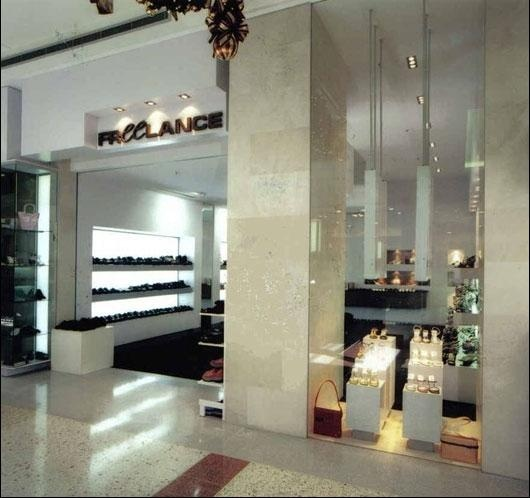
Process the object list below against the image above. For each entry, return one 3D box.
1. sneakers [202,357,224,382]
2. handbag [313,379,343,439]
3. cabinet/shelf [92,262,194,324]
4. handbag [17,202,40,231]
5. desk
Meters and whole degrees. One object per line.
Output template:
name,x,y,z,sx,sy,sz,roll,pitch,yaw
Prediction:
sneakers,-0.634,1.395,5.960,0.241,0.281,0.648,0,4,-8
handbag,0.651,1.646,5.156,0.300,0.539,0.195,1,3,12
cabinet/shelf,-1.870,0.659,7.302,0.489,0.968,2.212,-3,5,-45
handbag,-3.516,-0.478,7.342,0.176,0.508,0.379,4,3,36
desk,-2.756,1.488,7.491,0.666,0.723,0.668,0,-1,26
